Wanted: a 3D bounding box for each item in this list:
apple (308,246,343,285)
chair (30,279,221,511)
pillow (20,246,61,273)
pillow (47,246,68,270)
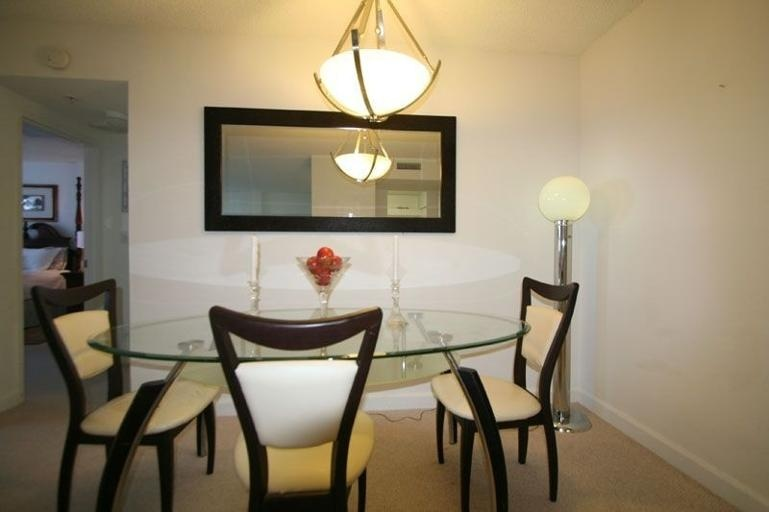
[{"bbox_3d":[-0.403,0.071,3.923,0.230,0.212,0.244,1,-8,6],"label":"apple"},{"bbox_3d":[-1.896,0.924,4.612,1.407,2.226,1.355,1,0,1],"label":"chair"},{"bbox_3d":[-4.225,0.021,7.033,0.481,0.234,0.502,6,7,40],"label":"pillow"},{"bbox_3d":[-4.041,0.032,7.081,0.199,0.237,0.069,4,-4,-22],"label":"pillow"}]
